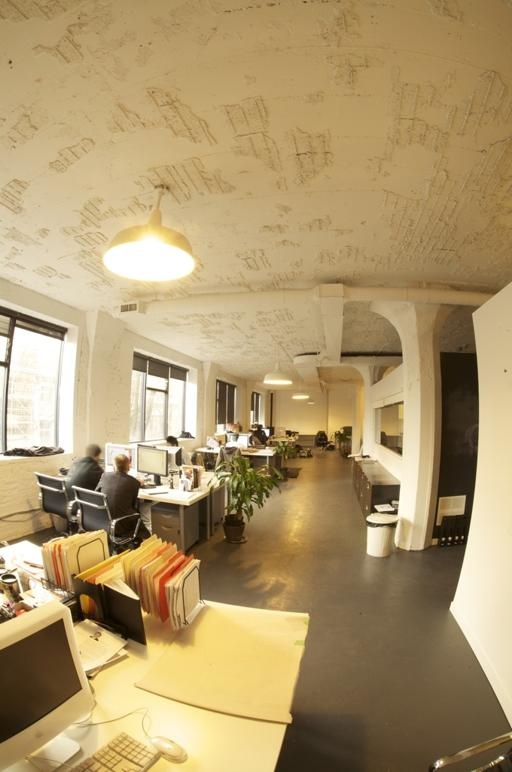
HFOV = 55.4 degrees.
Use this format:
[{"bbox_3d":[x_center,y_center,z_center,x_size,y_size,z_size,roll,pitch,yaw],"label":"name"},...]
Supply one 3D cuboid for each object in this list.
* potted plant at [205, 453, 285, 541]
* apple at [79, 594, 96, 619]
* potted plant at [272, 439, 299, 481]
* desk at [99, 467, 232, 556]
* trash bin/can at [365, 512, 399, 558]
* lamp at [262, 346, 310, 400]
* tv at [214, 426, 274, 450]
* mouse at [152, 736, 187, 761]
[{"bbox_3d":[-0.169,1.200,5.134,0.651,0.859,0.699,8,-3,4],"label":"potted plant"},{"bbox_3d":[-0.726,0.944,2.104,0.073,0.119,0.029,-10,9,-20],"label":"apple"},{"bbox_3d":[0.699,1.702,11.729,0.547,0.566,1.552,-1,-5,4],"label":"potted plant"},{"bbox_3d":[-0.728,1.225,4.906,0.759,0.519,1.012,-1,-2,18],"label":"desk"},{"bbox_3d":[1.224,1.454,4.835,0.341,0.343,0.348,2,-3,17],"label":"trash bin/can"},{"bbox_3d":[0.698,-0.311,11.393,1.586,0.900,0.670,25,-29,-39],"label":"lamp"},{"bbox_3d":[-0.322,1.113,10.850,0.747,0.307,0.744,3,-5,-42],"label":"tv"},{"bbox_3d":[-0.262,1.095,1.474,0.090,0.028,0.051,6,-2,11],"label":"mouse"}]
